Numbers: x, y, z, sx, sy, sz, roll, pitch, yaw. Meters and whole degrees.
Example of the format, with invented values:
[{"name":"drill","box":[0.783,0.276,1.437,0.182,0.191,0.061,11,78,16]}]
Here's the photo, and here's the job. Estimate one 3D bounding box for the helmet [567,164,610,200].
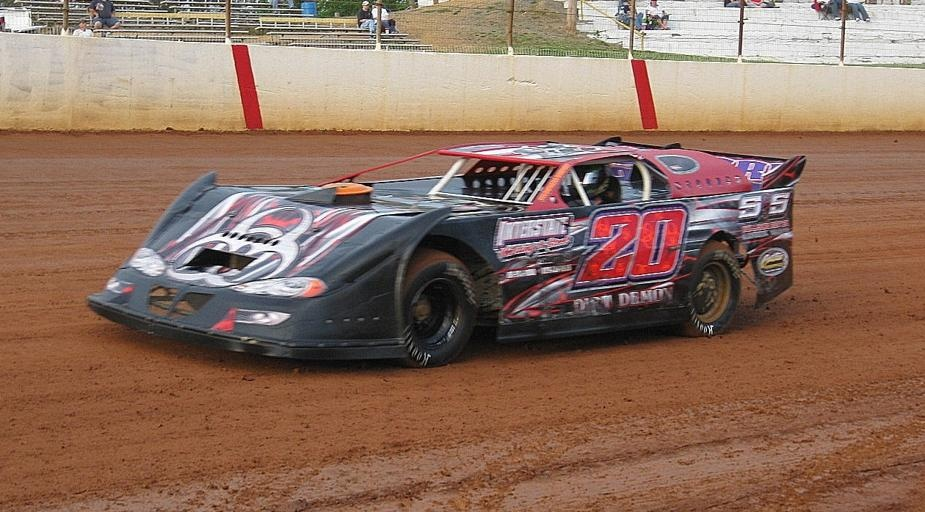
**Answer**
[{"name":"helmet","box":[1.226,-0.700,6.878,0.506,0.315,0.148,0,12,-18]}]
